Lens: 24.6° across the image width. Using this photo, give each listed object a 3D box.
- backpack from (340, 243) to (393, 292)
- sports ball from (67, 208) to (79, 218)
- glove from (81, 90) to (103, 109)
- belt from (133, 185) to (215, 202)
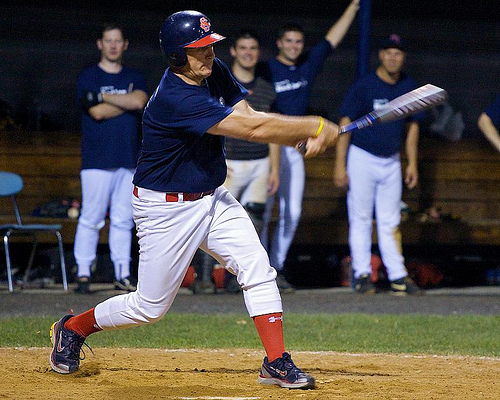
[{"bbox_3d":[1.291,0.742,12.709,0.552,0.516,0.218,-2,-6,24],"label":"backpack"},{"bbox_3d":[-1.912,0.124,12.472,0.099,0.108,0.097,-16,-33,-11],"label":"sports ball"},{"bbox_3d":[-1.593,-1.032,11.532,0.218,0.190,0.094,2,4,26],"label":"glove"},{"bbox_3d":[-0.573,-0.055,8.718,0.612,0.107,0.191,1,3,-5],"label":"belt"}]
